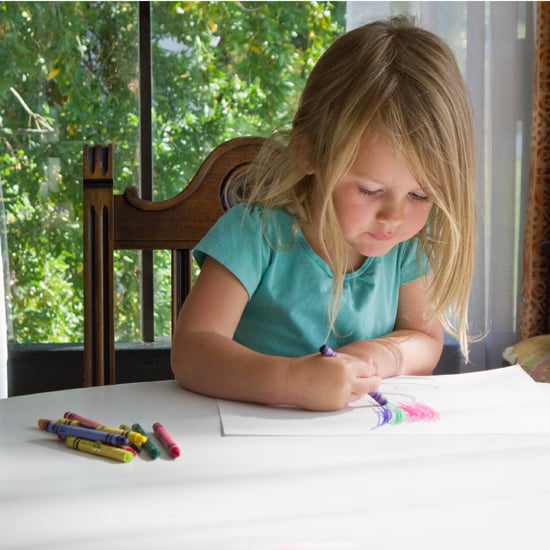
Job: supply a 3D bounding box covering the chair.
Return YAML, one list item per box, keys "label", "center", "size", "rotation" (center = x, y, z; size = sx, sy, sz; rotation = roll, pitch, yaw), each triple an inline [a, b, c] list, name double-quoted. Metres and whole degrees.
- label: "chair"
  center: [-0.284, 0.010, 1.318]
  size: [0.276, 0.440, 0.301]
  rotation: [1, -10, 13]
